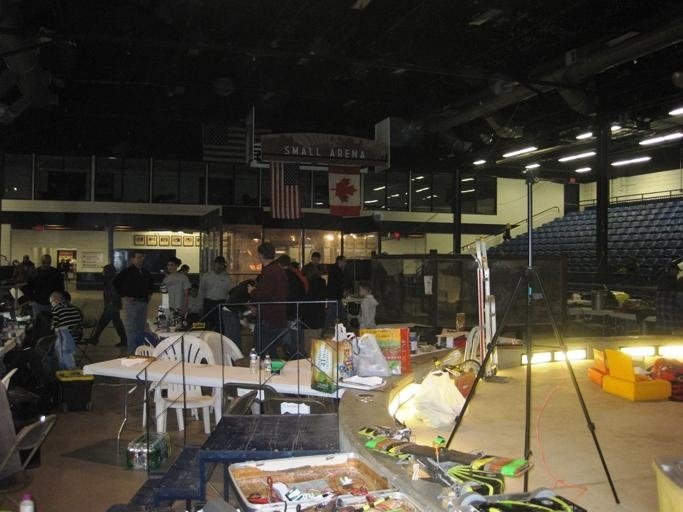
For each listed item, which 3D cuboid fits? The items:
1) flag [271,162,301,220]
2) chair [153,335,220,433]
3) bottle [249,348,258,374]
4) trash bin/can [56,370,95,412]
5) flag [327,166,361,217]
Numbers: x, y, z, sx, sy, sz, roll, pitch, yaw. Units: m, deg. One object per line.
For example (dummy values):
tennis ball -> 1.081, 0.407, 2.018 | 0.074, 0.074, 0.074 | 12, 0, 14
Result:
flag -> -1.167, -1.335, 12.121 | 0.696, 1.144, 0.063 | -5, 10, -33
chair -> -1.674, 1.246, 6.419 | 0.629, 0.731, 0.646 | -3, -6, 3
bottle -> -0.891, 1.028, 6.010 | 0.094, 0.223, 0.240 | -9, 8, -11
trash bin/can -> -3.366, 1.758, 7.487 | 0.444, 0.465, 0.490 | 4, -27, -38
flag -> 0.069, -1.402, 13.007 | 0.742, 1.077, 0.379 | -8, 8, -1
